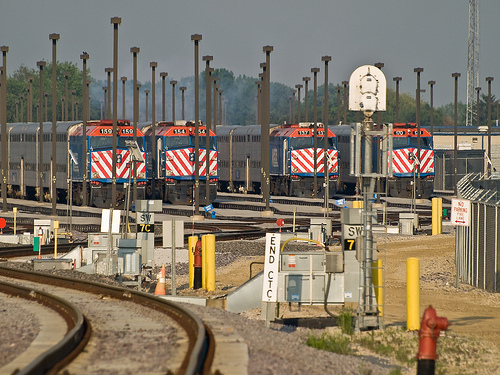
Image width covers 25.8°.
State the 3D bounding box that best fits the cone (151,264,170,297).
[{"bbox_3d":[-2.459,2.686,31.922,0.696,1.160,0.760,2,-3,-15],"label":"cone"}]

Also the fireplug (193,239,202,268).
[{"bbox_3d":[-1.618,2.038,34.105,0.253,0.788,0.456,-1,-2,-3],"label":"fireplug"}]

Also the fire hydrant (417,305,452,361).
[{"bbox_3d":[4.084,3.251,24.432,0.646,1.151,0.457,-1,-2,9],"label":"fire hydrant"}]
